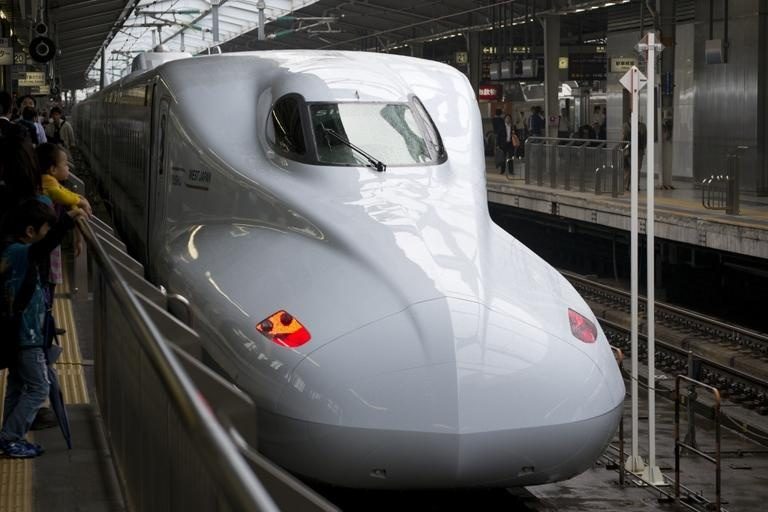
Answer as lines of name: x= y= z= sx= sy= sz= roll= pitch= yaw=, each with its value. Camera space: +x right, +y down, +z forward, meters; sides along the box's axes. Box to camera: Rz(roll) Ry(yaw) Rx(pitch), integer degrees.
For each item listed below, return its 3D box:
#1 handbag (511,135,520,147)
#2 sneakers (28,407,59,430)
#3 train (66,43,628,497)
handbag: x=5.527 y=-4.836 z=27.669 sx=0.190 sy=0.592 sz=0.539 roll=-5 pitch=3 yaw=13
sneakers: x=-2.658 y=1.274 z=5.160 sx=0.116 sy=0.064 sz=0.227 roll=1 pitch=16 yaw=-3
train: x=-0.146 y=-0.072 z=6.097 sx=4.276 sy=3.782 sz=2.711 roll=6 pitch=14 yaw=36
